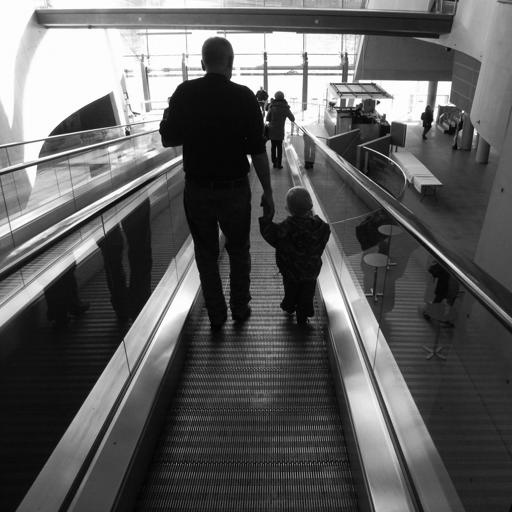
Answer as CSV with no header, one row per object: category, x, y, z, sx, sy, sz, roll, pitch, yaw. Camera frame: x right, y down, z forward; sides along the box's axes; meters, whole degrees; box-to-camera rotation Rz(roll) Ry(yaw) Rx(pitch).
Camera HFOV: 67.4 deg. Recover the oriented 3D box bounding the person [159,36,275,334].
person,-0.265,-0.442,2.795,0.768,2.033,0.374,1,21,2
